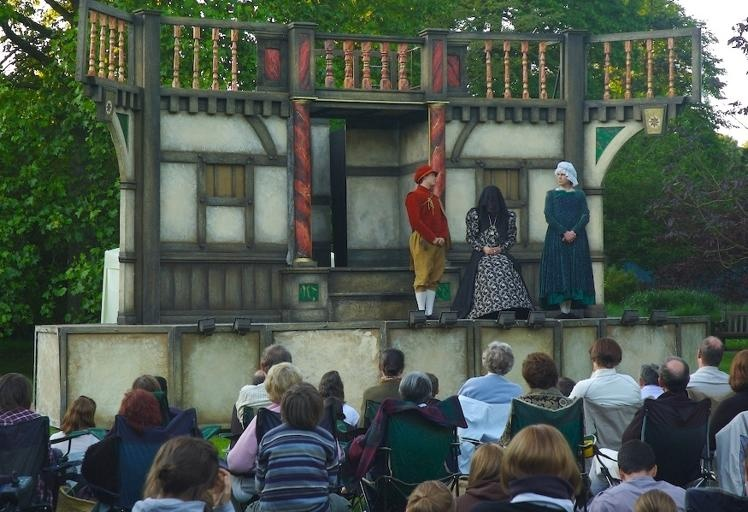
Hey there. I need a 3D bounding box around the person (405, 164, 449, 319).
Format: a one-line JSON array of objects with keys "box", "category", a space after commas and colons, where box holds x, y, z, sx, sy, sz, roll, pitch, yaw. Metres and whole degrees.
[{"box": [1.138, -0.347, 42.060, 0.746, 3.081, 0.896, -5, -7, 27], "category": "person"}]

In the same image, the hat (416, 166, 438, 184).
[{"box": [1.059, -1.731, 42.011, 0.421, 0.223, 0.324, -27, -7, 12], "category": "hat"}]

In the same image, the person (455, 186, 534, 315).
[{"box": [2.418, -0.110, 41.755, 1.467, 2.744, 0.653, -2, -6, 1], "category": "person"}]

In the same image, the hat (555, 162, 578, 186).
[{"box": [4.028, -1.744, 42.030, 0.549, 0.444, 0.384, 3, -2, -36], "category": "hat"}]

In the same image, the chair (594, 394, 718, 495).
[{"box": [5.274, 3.335, 37.395, 2.000, 2.389, 1.804, 1, 2, -6], "category": "chair"}]
